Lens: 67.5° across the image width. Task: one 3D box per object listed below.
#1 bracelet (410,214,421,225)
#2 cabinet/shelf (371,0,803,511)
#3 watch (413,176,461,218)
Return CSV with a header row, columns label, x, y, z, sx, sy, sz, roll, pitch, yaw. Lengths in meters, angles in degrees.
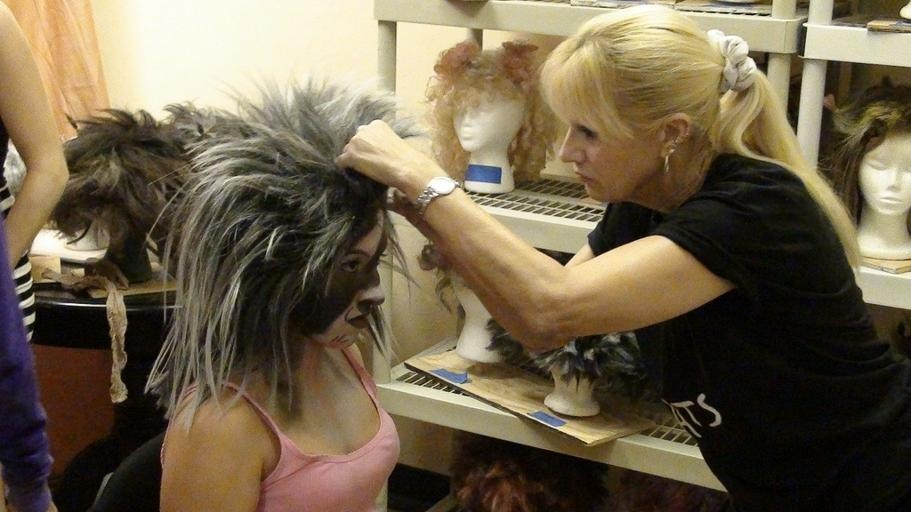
label,x,y,z,sx,sy,sz,roll,pitch,yaw
bracelet,-0.084,-0.080,1.500,0.021,0.020,0.021,2,-14,32
cabinet/shelf,0.332,-0.147,1.471,1.142,0.928,0.529,-2,10,-13
watch,-0.046,-0.121,1.488,0.101,0.057,0.090,-2,-30,-31
